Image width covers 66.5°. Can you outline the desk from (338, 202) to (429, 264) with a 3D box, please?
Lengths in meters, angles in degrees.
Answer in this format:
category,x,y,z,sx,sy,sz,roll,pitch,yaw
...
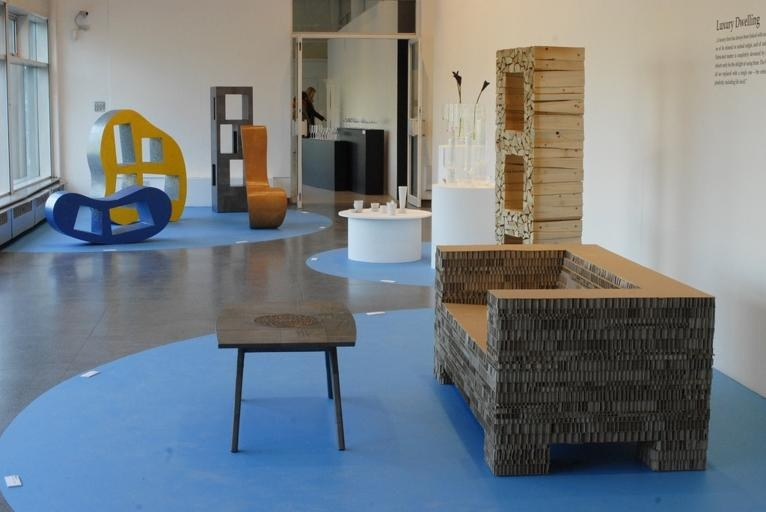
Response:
category,x,y,z,sx,sy,sz,roll,pitch,yaw
desk,0.056,-0.260,7.271,0.797,0.410,0.812,-3,6,-22

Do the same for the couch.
category,x,y,z,sx,sy,sz,roll,pitch,yaw
couch,1.002,0.510,3.302,1.193,0.946,1.109,-1,13,-4

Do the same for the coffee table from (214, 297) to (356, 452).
category,x,y,z,sx,sy,sz,roll,pitch,yaw
coffee table,-0.545,0.655,3.328,0.749,0.620,0.706,-1,13,-7

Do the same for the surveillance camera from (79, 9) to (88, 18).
category,x,y,z,sx,sy,sz,roll,pitch,yaw
surveillance camera,-5.920,-4.799,11.599,0.166,0.107,0.059,-7,15,-29
